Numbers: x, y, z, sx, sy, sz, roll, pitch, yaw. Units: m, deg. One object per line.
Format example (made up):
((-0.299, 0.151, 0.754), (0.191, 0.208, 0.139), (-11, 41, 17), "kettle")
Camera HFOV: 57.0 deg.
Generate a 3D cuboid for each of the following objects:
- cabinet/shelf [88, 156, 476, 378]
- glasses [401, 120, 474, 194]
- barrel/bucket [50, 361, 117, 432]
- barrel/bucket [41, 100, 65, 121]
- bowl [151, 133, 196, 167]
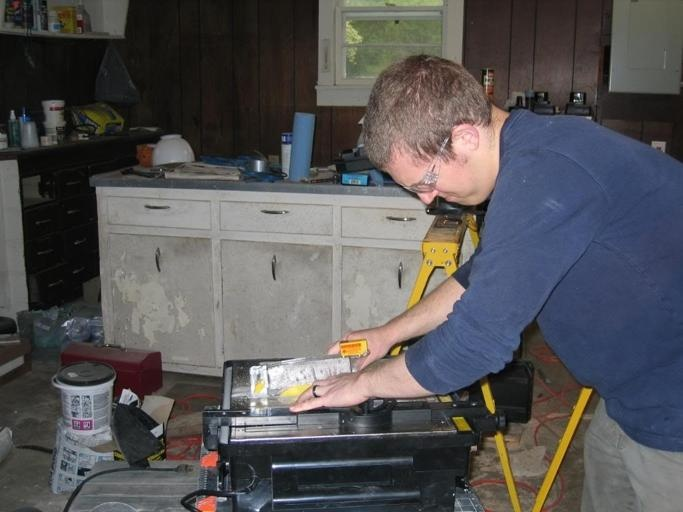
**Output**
((-0.315, 0.038, 3.259), (1.371, 0.778, 0.440), (1, 3, 7), "cabinet/shelf")
((0.252, -0.239, 1.598), (0.161, 0.048, 0.152), (-47, 7, -22), "glasses")
((-1.219, 0.640, 3.093), (0.282, 0.295, 0.324), (-4, 12, -38), "barrel/bucket")
((-2.382, -1.196, 5.211), (0.156, 0.112, 0.154), (0, 2, 0), "barrel/bucket")
((-1.109, -0.683, 4.178), (0.237, 0.206, 0.235), (0, 5, 0), "bowl")
